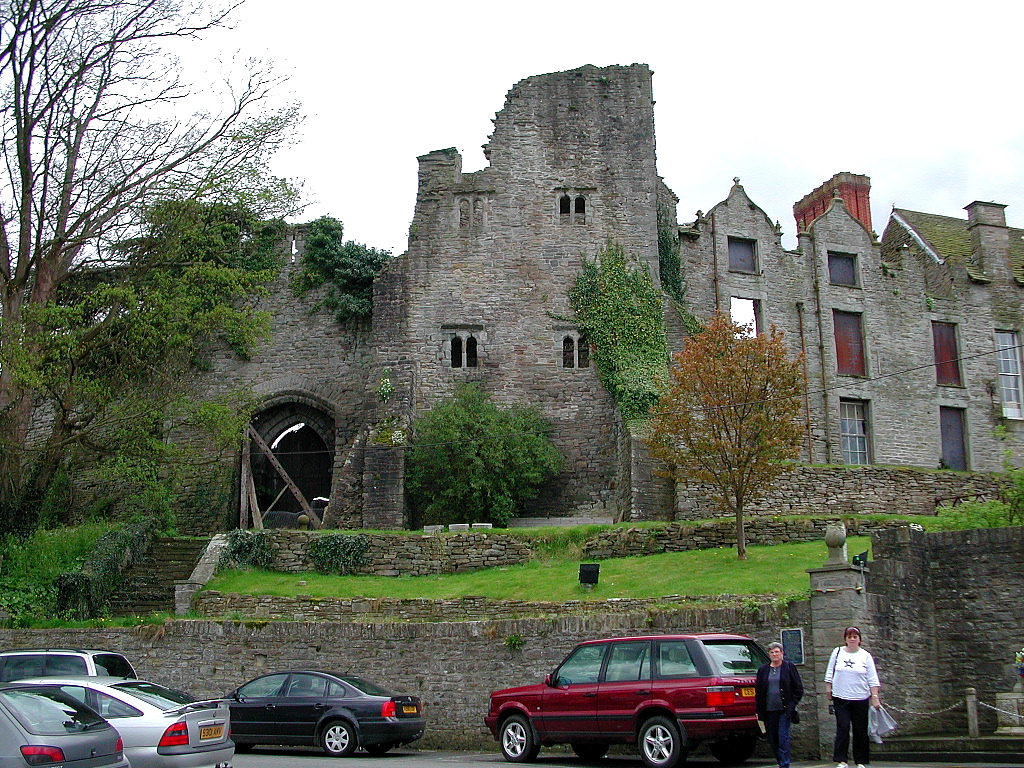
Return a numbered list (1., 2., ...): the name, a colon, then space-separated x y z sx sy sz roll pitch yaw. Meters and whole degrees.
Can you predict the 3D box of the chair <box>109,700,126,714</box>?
1. chair: -6.004 4.905 15.555 0.236 0.214 0.137 3 -4 -7
